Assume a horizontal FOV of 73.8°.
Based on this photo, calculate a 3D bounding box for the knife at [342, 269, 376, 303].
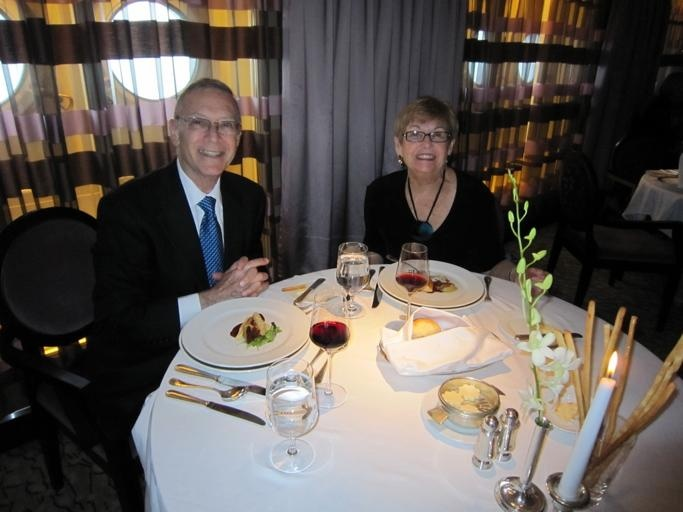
[{"bbox_3d":[0.100,0.113,1.914,0.097,0.101,0.076,-8,16,-44],"label":"knife"}]

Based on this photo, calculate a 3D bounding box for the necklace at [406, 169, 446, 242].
[{"bbox_3d":[0.483,-0.338,2.659,0.214,0.020,0.622,2,57,11],"label":"necklace"}]

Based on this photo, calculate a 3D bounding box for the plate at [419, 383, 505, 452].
[{"bbox_3d":[0.319,0.424,1.256,0.242,0.096,0.156,-16,24,-33],"label":"plate"}]

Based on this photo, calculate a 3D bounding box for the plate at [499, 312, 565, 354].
[{"bbox_3d":[0.639,0.258,1.564,0.169,0.023,0.168,15,34,27],"label":"plate"}]

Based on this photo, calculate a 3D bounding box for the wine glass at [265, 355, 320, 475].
[{"bbox_3d":[-0.128,0.426,1.170,0.151,0.273,0.156,-10,32,-19],"label":"wine glass"}]

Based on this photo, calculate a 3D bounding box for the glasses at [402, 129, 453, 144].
[{"bbox_3d":[0.458,-0.650,2.444,0.249,0.070,0.074,5,24,9],"label":"glasses"}]

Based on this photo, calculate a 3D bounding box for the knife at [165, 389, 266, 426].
[{"bbox_3d":[-0.354,0.432,1.275,0.227,0.011,0.031,15,35,18],"label":"knife"}]

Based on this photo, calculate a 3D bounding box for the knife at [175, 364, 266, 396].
[{"bbox_3d":[-0.360,0.374,1.353,0.282,0.014,0.038,12,71,8],"label":"knife"}]

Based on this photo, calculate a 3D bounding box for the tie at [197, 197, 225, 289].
[{"bbox_3d":[-0.580,-0.077,2.041,0.130,0.528,0.058,-14,52,-19],"label":"tie"}]

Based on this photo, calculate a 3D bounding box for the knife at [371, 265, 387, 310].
[{"bbox_3d":[0.147,0.134,1.853,0.027,0.006,0.263,5,26,11],"label":"knife"}]

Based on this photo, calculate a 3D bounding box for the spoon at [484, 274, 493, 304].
[{"bbox_3d":[0.593,0.133,1.849,0.029,0.015,0.166,8,30,6],"label":"spoon"}]

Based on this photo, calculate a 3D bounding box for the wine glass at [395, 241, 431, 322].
[{"bbox_3d":[0.260,0.123,1.725,0.127,0.375,0.126,-2,17,-9],"label":"wine glass"}]

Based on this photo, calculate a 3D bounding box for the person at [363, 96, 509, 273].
[{"bbox_3d":[0.515,-0.383,2.456,0.784,0.881,0.518,10,25,19],"label":"person"}]

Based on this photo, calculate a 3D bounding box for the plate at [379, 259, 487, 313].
[{"bbox_3d":[0.356,0.116,1.837,0.395,0.054,0.404,9,30,15],"label":"plate"}]

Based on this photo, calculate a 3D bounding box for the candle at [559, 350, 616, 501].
[{"bbox_3d":[0.558,0.389,1.025,0.048,0.374,0.178,18,28,33],"label":"candle"}]

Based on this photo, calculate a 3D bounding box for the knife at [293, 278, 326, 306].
[{"bbox_3d":[-0.130,0.138,1.785,0.041,0.018,0.244,13,25,17],"label":"knife"}]
